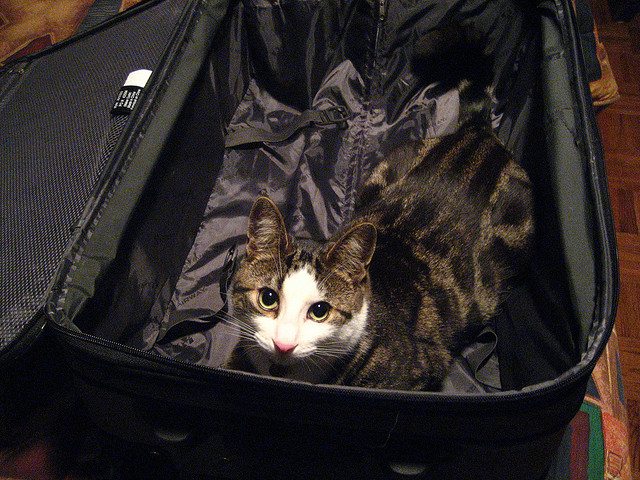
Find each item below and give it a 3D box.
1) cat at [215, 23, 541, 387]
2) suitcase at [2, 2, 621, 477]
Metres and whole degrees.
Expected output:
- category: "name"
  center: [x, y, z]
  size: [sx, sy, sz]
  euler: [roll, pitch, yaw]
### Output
- category: "cat"
  center: [0.281, 0.081, 2.146]
  size: [0.669, 0.542, 1.170]
  euler: [31, 67, 19]
- category: "suitcase"
  center: [0.044, -0.123, 1.838]
  size: [1.302, 0.738, 1.301]
  euler: [4, 48, -2]
